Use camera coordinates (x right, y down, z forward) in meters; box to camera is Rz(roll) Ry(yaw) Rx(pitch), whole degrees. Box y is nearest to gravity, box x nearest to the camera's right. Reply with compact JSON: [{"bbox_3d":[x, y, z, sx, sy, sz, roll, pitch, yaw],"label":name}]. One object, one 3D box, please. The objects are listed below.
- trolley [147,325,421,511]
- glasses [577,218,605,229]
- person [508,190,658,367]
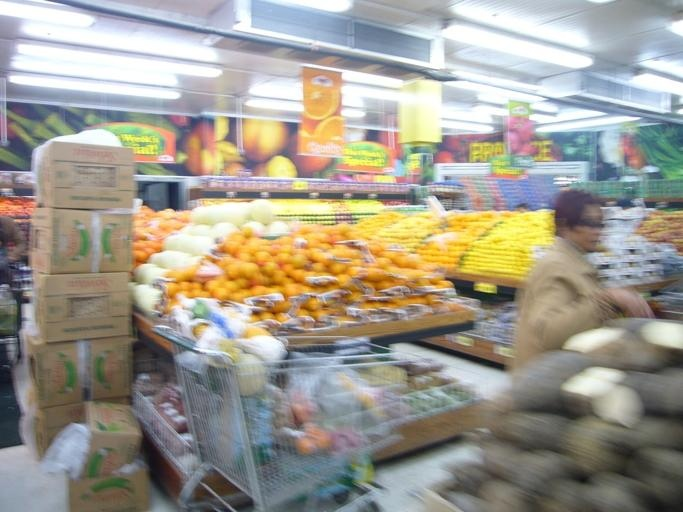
[{"bbox_3d":[-0.165,0.609,2.332,1.277,0.750,0.705,-3,6,-26],"label":"trolley"},{"bbox_3d":[0.642,-0.079,1.226,0.074,0.012,0.057,1,-1,4],"label":"glasses"},{"bbox_3d":[0.632,0.052,1.330,0.302,0.492,0.892,-3,2,18],"label":"person"}]
